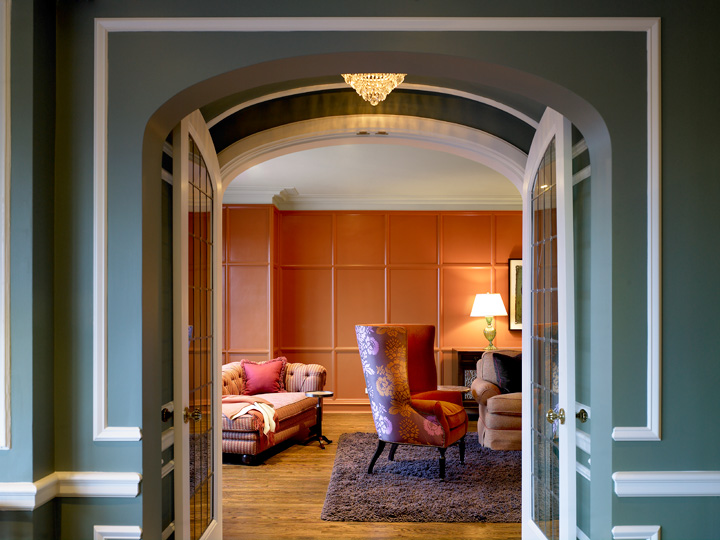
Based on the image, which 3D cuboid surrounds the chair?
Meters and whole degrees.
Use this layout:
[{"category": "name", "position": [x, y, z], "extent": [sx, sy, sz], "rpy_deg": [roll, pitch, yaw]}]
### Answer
[{"category": "chair", "position": [0.518, 1.214, 6.279], "extent": [1.178, 1.776, 1.383], "rpy_deg": [-2, -6, 16]}]

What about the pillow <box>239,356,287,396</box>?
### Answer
[{"category": "pillow", "position": [-1.132, 1.257, 6.936], "extent": [0.327, 0.313, 0.129], "rpy_deg": [0, -26, -18]}]

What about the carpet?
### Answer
[{"category": "carpet", "position": [0.613, 1.906, 5.433], "extent": [1.776, 0.069, 1.794], "rpy_deg": [-1, 0, 3]}]

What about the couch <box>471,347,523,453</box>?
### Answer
[{"category": "couch", "position": [1.469, 1.405, 6.383], "extent": [0.713, 0.909, 0.885], "rpy_deg": [0, -8, 3]}]

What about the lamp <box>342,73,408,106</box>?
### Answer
[{"category": "lamp", "position": [0.083, -1.124, 3.680], "extent": [0.230, 0.137, 0.246], "rpy_deg": [0, 5, 1]}]

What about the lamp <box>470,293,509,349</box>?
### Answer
[{"category": "lamp", "position": [1.764, 0.700, 8.234], "extent": [0.477, 0.767, 0.502], "rpy_deg": [-1, 0, 11]}]
